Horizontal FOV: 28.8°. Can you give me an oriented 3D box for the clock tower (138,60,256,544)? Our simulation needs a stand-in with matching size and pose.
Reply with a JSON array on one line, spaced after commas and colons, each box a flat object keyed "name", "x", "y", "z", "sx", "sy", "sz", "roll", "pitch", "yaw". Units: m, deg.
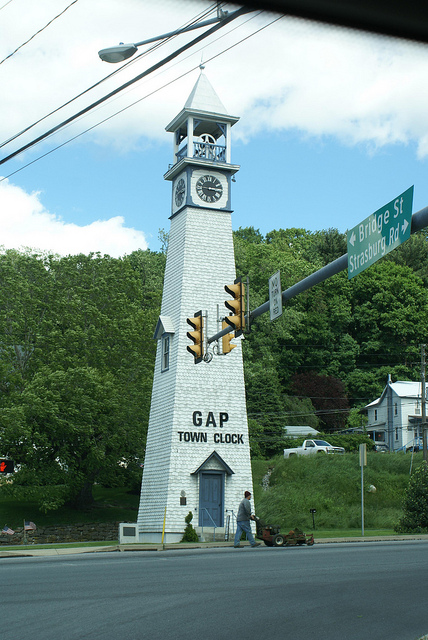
[{"name": "clock tower", "x": -0.762, "y": -1.790, "z": 35.525, "sx": 5.847, "sy": 18.629, "sz": 4.619, "roll": 1, "pitch": 1, "yaw": -8}]

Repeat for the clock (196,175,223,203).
[{"name": "clock", "x": -0.231, "y": -5.581, "z": 35.265, "sx": 1.490, "sy": 1.245, "sz": 0.125, "roll": 0, "pitch": 2, "yaw": -19}]

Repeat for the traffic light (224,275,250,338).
[{"name": "traffic light", "x": 0.525, "y": -0.231, "z": 15.853, "sx": 0.418, "sy": 1.114, "sz": 0.398, "roll": 5, "pitch": -11, "yaw": -27}]

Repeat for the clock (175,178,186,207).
[{"name": "clock", "x": -1.398, "y": -5.492, "z": 35.937, "sx": 0.107, "sy": 1.472, "sz": 1.617, "roll": 3, "pitch": -1, "yaw": -17}]

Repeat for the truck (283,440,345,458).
[{"name": "truck", "x": 6.091, "y": 8.355, "z": 54.406, "sx": 3.041, "sy": 1.030, "sz": 1.646, "roll": -11, "pitch": -12, "yaw": 30}]
